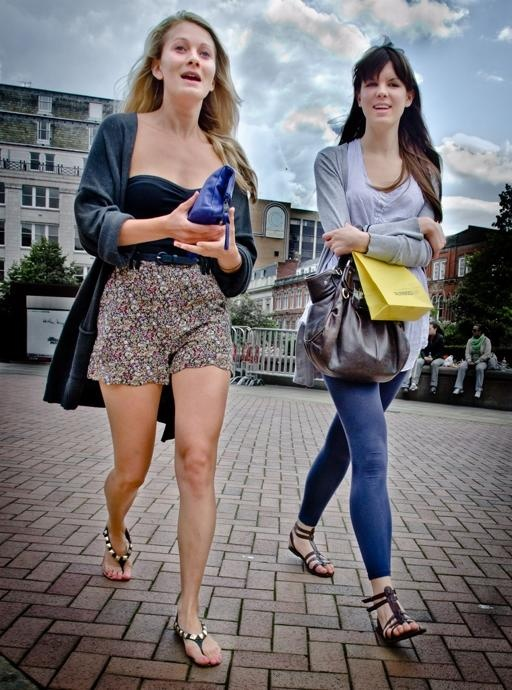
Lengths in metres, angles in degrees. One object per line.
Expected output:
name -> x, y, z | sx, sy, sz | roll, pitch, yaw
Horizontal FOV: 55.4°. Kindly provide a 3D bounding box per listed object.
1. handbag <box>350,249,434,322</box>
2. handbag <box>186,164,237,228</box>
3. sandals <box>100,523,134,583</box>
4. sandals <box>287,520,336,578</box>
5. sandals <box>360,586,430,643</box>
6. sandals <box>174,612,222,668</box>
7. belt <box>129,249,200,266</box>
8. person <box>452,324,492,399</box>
handbag -> 0.511, -0.232, 1.929 | 0.275, 0.251, 0.096 | -2, -25, -45
handbag -> -0.136, -0.465, 1.526 | 0.157, 0.197, 0.100 | 1, 10, -24
sandals -> -0.661, 0.961, 2.353 | 0.128, 0.086, 0.402 | 3, 10, -20
sandals -> 0.297, 1.056, 2.554 | 0.136, 0.149, 0.350 | 4, 3, -25
sandals -> 0.474, 0.962, 1.769 | 0.132, 0.146, 0.331 | -14, -13, -6
sandals -> -0.182, 0.929, 1.558 | 0.078, 0.049, 0.173 | 4, 0, -29
belt -> -0.314, -0.296, 1.700 | 0.232, 0.046, 0.037 | 4, 10, -5
person -> 6.330, 0.601, 14.127 | 0.849, 1.657, 1.518 | 9, 10, 24
